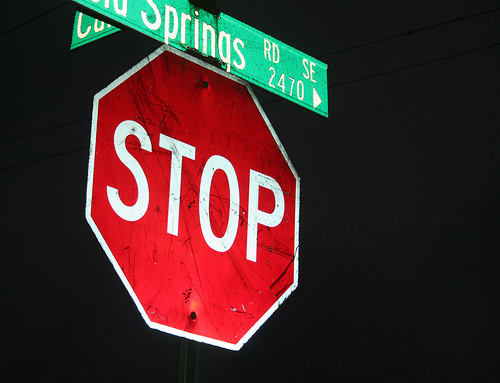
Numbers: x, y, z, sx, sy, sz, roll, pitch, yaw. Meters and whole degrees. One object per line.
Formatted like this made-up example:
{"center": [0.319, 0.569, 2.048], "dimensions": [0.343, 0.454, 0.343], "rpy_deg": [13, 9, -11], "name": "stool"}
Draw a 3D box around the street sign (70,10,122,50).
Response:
{"center": [-1.343, -1.371, 6.531], "dimensions": [0.338, 0.367, 0.082], "rpy_deg": [1, -4, 33], "name": "street sign"}
